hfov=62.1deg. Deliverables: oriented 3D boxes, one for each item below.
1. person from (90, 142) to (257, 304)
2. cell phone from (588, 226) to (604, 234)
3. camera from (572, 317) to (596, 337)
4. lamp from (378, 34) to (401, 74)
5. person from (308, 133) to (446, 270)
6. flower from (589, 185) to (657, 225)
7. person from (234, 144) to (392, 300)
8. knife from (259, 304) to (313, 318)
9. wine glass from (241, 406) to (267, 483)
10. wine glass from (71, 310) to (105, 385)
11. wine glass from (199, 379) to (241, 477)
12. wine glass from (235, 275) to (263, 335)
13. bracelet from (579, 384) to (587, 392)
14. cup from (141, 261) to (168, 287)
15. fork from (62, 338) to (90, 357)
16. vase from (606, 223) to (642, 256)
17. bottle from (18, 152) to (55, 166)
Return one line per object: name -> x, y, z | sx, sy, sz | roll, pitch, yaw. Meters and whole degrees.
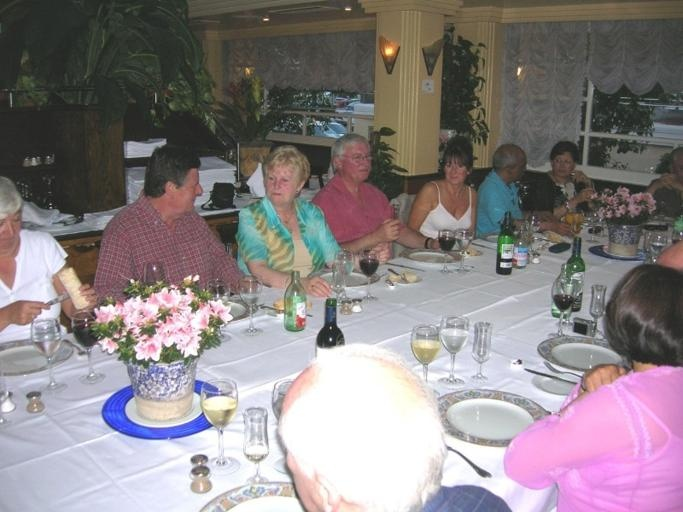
person -> -0.950, -0.176, 3.093 | 0.562, 1.058, 0.766 | 11, 19, 24
cell phone -> 1.866, -0.184, 4.175 | 0.068, 0.072, 0.071 | -4, -1, -13
camera -> 1.046, 0.302, 2.484 | 0.103, 0.108, 0.055 | 7, 8, 29
lamp -> 0.533, -2.281, 6.472 | 0.080, 0.427, 0.296 | -16, 22, -42
person -> 0.137, -0.367, 3.895 | 0.902, 1.015, 0.732 | 13, 32, 31
flower -> 1.764, -0.320, 3.578 | 0.273, 0.189, 0.291 | 1, 16, 7
person -> -0.310, -0.310, 3.334 | 0.875, 0.959, 0.718 | 13, 20, 33
knife -> -0.303, 0.247, 2.556 | 0.129, 0.032, 0.099 | 3, 8, -18
wine glass -> -0.234, 0.517, 1.560 | 0.069, 0.167, 0.190 | -4, 17, -10
wine glass -> -0.920, 0.296, 2.046 | 0.072, 0.222, 0.315 | -9, 18, -24
wine glass -> -0.345, 0.478, 1.633 | 0.099, 0.197, 0.211 | -5, 17, -13
wine glass -> -0.399, 0.222, 2.449 | 0.133, 0.359, 0.135 | -2, 16, -6
bracelet -> 0.712, 0.393, 1.679 | 0.022, 0.024, 0.023 | 2, 0, 4
cup -> -0.790, 0.077, 2.377 | 0.099, 0.142, 0.102 | 0, -4, 0
fork -> -1.016, 0.354, 2.173 | 0.047, 0.030, 0.201 | -1, 14, -37
vase -> 1.764, -0.108, 3.574 | 0.187, 0.203, 0.208 | 8, 13, 27
bottle -> -1.964, -0.620, 3.700 | 0.079, 0.070, 0.230 | 11, 20, 36
